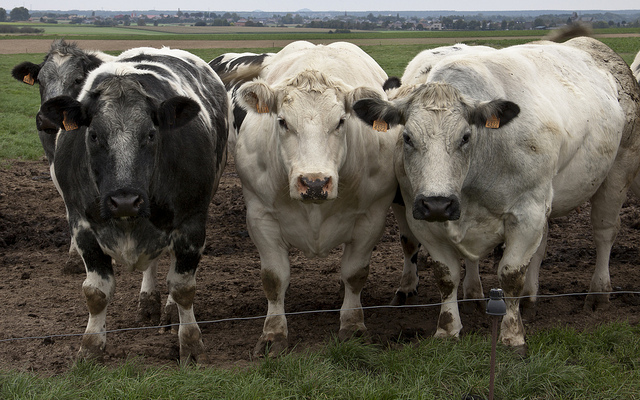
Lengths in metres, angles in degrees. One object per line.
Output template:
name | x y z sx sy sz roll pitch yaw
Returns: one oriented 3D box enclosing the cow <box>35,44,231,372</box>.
cow | -2.367 0.057 10.172 1.860 4.147 2.732 0 12 11
